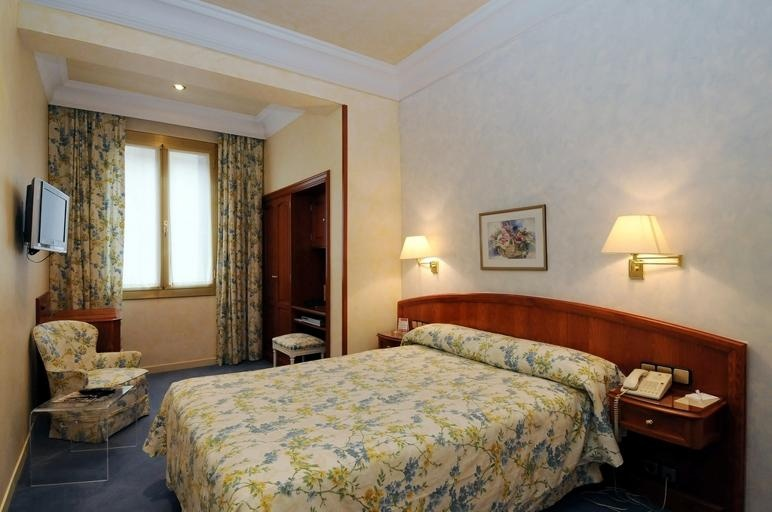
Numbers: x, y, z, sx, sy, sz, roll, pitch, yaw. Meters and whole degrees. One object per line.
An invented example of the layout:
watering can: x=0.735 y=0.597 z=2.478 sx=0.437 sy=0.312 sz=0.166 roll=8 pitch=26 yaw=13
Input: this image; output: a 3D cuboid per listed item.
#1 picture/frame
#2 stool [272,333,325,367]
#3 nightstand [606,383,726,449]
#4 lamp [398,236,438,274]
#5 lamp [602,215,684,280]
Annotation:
picture/frame: x=1.209 y=-0.178 z=4.929 sx=0.627 sy=0.521 sz=0.026 roll=-1 pitch=-4 yaw=44
stool: x=-1.026 y=1.023 z=6.243 sx=0.434 sy=0.448 sz=0.607 roll=-1 pitch=4 yaw=-29
nightstand: x=2.149 y=1.212 z=4.029 sx=0.587 sy=0.391 sz=0.750 roll=-7 pitch=5 yaw=-39
lamp: x=0.347 y=-0.028 z=5.739 sx=0.400 sy=0.480 sz=0.412 roll=-2 pitch=-1 yaw=-27
lamp: x=2.042 y=-0.054 z=4.151 sx=0.503 sy=0.521 sz=0.612 roll=-1 pitch=2 yaw=-22
